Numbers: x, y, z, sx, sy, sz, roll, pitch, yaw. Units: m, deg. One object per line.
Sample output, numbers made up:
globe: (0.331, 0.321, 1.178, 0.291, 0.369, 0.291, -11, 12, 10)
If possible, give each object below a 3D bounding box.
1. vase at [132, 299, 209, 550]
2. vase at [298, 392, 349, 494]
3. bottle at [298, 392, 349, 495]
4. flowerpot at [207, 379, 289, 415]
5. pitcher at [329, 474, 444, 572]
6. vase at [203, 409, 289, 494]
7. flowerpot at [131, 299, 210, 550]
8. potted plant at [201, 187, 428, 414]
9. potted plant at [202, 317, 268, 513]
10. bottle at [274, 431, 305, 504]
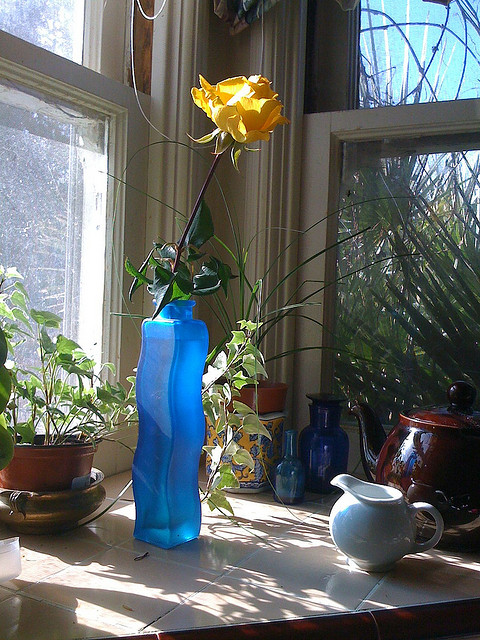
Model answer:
vase: (-0.091, 0.135, 0.808, 0.104, 0.318, 0.110, 3, -3, -35)
vase: (0.145, 0.220, 1.012, 0.079, 0.179, 0.092, 7, 5, 3)
bottle: (0.144, 0.218, 1.061, 0.082, 0.187, 0.096, 8, 5, 7)
flowerpot: (0.024, 0.130, 1.056, 0.122, 0.063, 0.127, 0, 6, -30)
pitcher: (0.175, 0.255, 0.705, 0.133, 0.101, 0.107, 4, 2, 34)
vase: (0.038, 0.207, 1.052, 0.169, 0.192, 0.163, 1, -3, 9)
flowerpot: (-0.096, 0.141, 0.793, 0.104, 0.326, 0.102, 2, 2, -35)
potted plant: (0.089, -0.060, 1.124, 0.435, 0.239, 0.439, 8, -2, 28)
potted plant: (-0.009, 0.137, 0.873, 0.125, 0.250, 0.100, -14, -18, 25)
bottle: (0.083, 0.248, 0.970, 0.050, 0.126, 0.054, 2, -3, 0)
